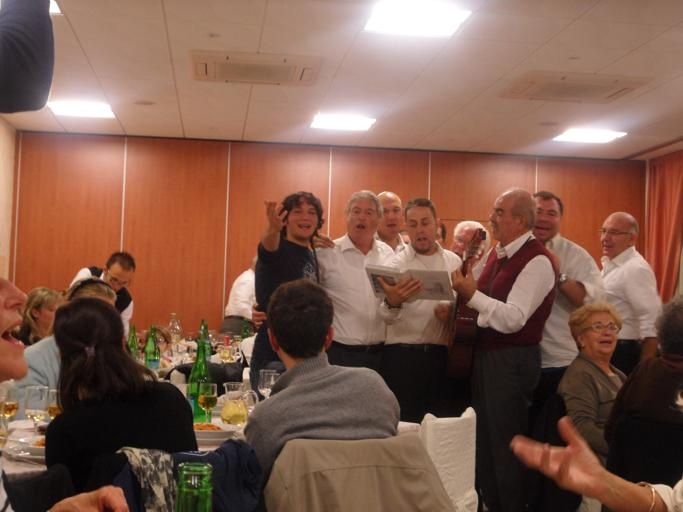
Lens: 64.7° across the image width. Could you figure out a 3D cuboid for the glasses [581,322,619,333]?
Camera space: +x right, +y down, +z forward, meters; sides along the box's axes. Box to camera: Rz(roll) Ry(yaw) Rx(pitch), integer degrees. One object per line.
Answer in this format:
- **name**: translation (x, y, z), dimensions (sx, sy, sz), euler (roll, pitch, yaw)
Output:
- **glasses**: translation (1.549, 0.415, 3.171), dimensions (0.220, 0.061, 0.068), euler (0, 1, -9)
